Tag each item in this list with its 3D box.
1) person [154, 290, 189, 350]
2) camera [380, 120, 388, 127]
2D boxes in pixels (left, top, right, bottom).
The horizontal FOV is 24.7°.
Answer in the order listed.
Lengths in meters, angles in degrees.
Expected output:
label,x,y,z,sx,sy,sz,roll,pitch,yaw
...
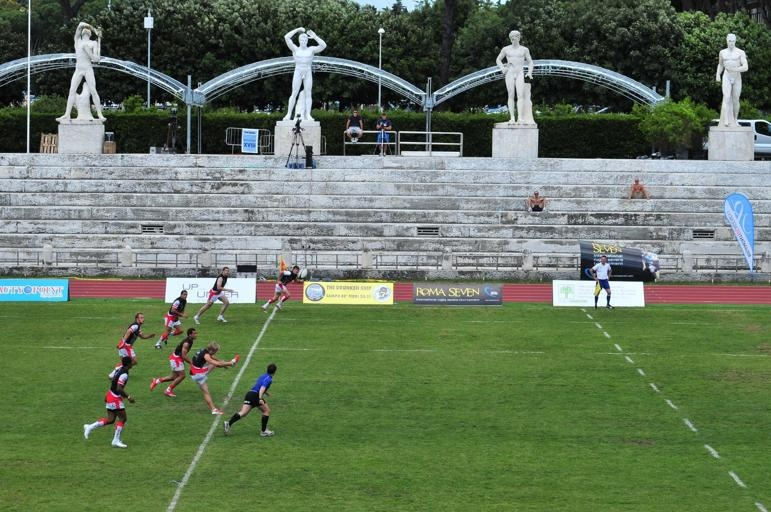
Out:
label,x,y,z,sx,sy,sz,roll,pitch,yaw
person,-10.376,3.052,85.289,1.371,2.910,1.125,7,-3,0
camera,-0.156,-8.133,106.763,0.344,0.371,0.165,-2,19,4
